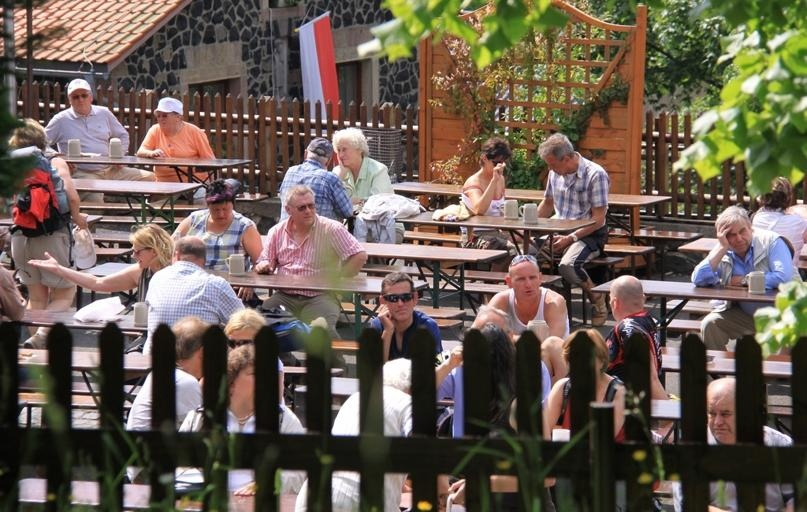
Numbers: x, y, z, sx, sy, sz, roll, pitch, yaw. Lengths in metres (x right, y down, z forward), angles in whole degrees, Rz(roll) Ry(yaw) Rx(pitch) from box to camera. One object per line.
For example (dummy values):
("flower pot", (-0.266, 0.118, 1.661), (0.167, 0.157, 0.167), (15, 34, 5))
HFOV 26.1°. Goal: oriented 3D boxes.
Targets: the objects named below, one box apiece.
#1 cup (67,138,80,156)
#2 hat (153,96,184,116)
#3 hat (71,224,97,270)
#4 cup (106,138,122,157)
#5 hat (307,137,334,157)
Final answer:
("cup", (-4.346, -1.432, 23.084), (0.220, 0.224, 0.208), (0, -1, 0))
("hat", (-3.096, -2.012, 23.397), (0.243, 0.167, 0.331), (6, 11, 28))
("hat", (-3.592, -0.063, 19.596), (0.159, 0.425, 0.294), (4, 11, 38))
("cup", (-3.814, -1.432, 23.160), (0.256, 0.267, 0.252), (0, 2, 0))
("hat", (-0.968, -1.251, 20.202), (0.241, 0.171, 0.332), (10, 8, -14))
